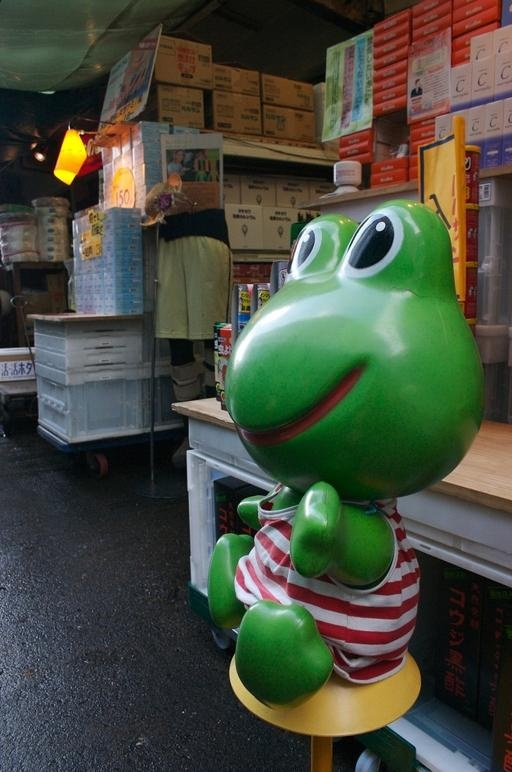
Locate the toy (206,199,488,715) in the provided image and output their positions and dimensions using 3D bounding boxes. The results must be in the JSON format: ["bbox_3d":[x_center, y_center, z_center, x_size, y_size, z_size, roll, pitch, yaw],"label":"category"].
[{"bbox_3d":[0.108,0.086,0.903,0.335,0.679,0.396,-8,10,-26],"label":"toy"}]
